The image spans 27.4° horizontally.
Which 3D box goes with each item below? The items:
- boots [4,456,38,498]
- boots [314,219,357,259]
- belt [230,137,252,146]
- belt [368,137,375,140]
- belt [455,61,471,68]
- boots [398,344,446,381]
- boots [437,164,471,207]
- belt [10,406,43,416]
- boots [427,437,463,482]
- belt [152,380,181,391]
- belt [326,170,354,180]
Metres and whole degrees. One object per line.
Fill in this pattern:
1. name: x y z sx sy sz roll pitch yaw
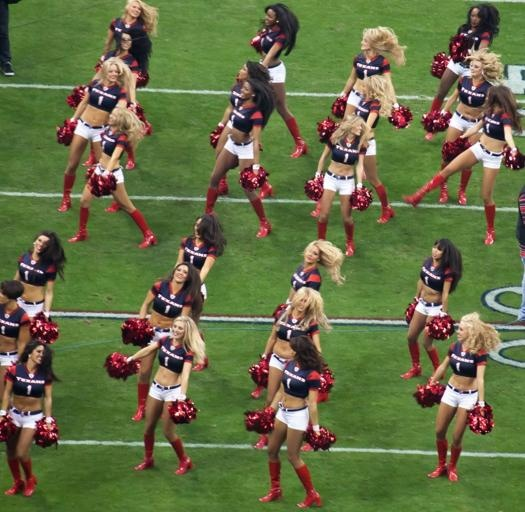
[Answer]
1. boots: -2.280 2.110 10.244 0.360 0.387 0.356 -3 4 12
2. boots: 1.002 -0.318 14.548 0.668 0.561 0.441 3 44 10
3. belt: -0.275 -1.527 14.387 0.171 0.044 0.153 3 -20 1
4. belt: 1.483 -1.627 14.640 0.075 0.046 0.067 -2 -10 -2
5. belt: 3.083 -2.964 16.559 0.140 0.065 0.101 1 -24 40
6. boots: 1.842 1.202 12.395 0.392 0.479 0.529 19 16 11
7. boots: 2.875 -1.063 15.904 0.500 0.632 0.542 3 39 3
8. belt: -2.279 1.504 10.348 0.296 0.077 0.089 11 16 -7
9. boots: 1.848 2.022 10.722 0.326 0.415 0.313 19 17 11
10. belt: -0.934 1.268 10.424 0.270 0.069 0.104 13 15 1
11. belt: 0.994 -1.044 14.083 0.372 0.120 0.156 14 16 4
